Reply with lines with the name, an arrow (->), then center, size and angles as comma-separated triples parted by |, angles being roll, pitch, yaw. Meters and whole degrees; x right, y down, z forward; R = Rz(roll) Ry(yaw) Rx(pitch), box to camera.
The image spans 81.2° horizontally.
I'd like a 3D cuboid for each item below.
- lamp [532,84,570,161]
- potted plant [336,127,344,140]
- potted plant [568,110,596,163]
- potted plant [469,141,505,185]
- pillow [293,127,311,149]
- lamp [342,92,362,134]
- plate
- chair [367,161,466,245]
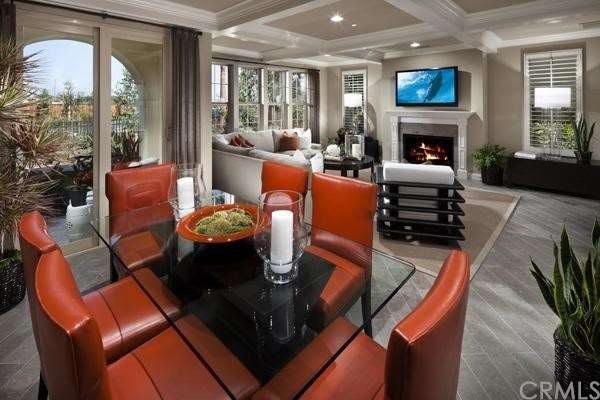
lamp -> 4.457, -1.373, 6.253 | 0.516, 1.161, 0.782 | 10, 16, 36
potted plant -> 1.080, -1.742, 9.315 | 0.305, 0.314, 0.316 | 10, 17, 32
potted plant -> 4.846, -1.055, 5.997 | 0.375, 0.786, 0.858 | 11, 17, 38
potted plant -> 3.725, -0.690, 6.900 | 0.524, 0.676, 0.621 | -14, 7, 17
pillow -> 0.057, -1.485, 8.756 | 0.504, 0.549, 0.192 | 3, -16, -17
lamp -> 1.360, -2.183, 8.891 | 0.539, 0.988, 1.209 | 3, 14, 6
plate -> -0.593, 0.189, 2.393 | 0.533, 0.122, 0.564 | -7, 22, -19
chair -> 1.489, 0.096, 4.270 | 0.927, 0.924, 1.261 | 3, 14, 14
